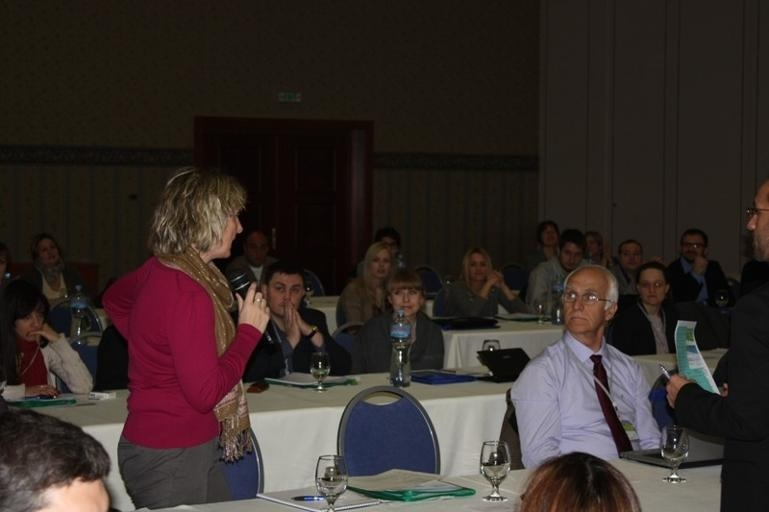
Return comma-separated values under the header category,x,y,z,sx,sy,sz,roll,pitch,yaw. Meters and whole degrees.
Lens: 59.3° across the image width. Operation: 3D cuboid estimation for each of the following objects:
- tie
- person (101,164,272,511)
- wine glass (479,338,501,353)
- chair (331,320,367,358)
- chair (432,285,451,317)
category,x,y,z,sx,sy,sz,roll,pitch,yaw
tie,1.017,0.689,3.061,0.121,0.485,0.027,-15,-13,-4
person,-0.693,0.291,2.467,0.544,1.235,0.327,-2,1,-25
wine glass,0.773,0.654,4.951,0.109,0.147,0.145,2,-12,-7
chair,-0.233,0.615,5.151,0.171,0.338,0.236,-1,-7,11
chair,0.643,0.485,7.041,0.270,0.319,0.215,6,-11,-32
